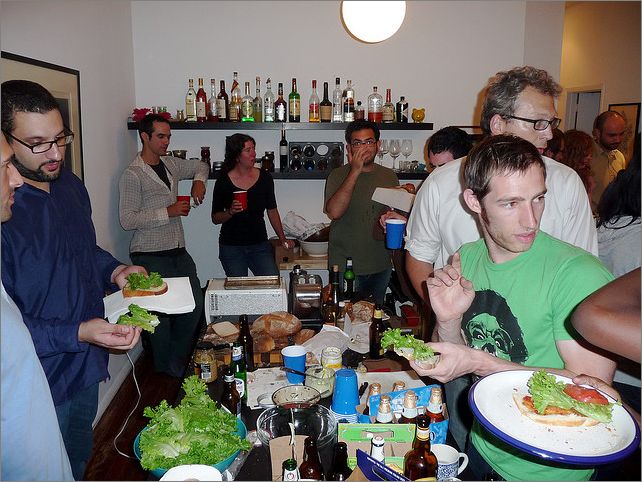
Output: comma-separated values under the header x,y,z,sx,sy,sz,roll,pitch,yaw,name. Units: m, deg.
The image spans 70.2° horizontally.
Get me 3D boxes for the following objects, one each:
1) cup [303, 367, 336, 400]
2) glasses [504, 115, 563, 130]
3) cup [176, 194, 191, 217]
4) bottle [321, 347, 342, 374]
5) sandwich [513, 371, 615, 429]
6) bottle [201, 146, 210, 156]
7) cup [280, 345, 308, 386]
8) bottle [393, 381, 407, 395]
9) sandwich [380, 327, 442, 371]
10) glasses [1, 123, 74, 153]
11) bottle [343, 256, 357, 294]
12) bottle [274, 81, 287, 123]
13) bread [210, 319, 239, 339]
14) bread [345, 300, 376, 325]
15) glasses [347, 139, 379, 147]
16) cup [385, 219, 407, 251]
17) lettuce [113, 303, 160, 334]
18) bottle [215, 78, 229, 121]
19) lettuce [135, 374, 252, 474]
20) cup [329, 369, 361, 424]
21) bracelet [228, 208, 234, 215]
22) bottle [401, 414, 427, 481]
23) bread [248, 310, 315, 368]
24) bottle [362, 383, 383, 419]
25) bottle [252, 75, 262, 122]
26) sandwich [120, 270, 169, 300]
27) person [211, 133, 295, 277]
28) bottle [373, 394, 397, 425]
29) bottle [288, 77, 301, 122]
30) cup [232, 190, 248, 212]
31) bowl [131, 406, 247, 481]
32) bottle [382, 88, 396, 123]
x,y,z,sx,sy,sz,roll,pitch,yaw,name
-0.002,0.594,1.990,0.119,0.125,0.124,4,5,0,cup
1.070,-0.585,2.231,0.373,0.074,0.164,-13,19,-31,glasses
-1.185,-0.302,3.895,0.160,0.170,0.156,3,9,0,cup
0.054,0.536,2.083,0.083,0.096,0.087,0,13,-1,bottle
0.736,0.470,1.377,0.217,0.077,0.138,-4,32,11,sandwich
-1.172,-0.904,4.617,0.086,0.112,0.088,2,9,0,bottle
-0.115,0.568,2.108,0.129,0.148,0.138,-1,-1,0,cup
0.318,0.583,1.844,0.040,0.054,0.052,0,7,0,bottle
0.328,0.423,1.700,0.185,0.076,0.122,19,21,28,sandwich
-1.238,-0.445,1.969,0.189,0.058,0.189,23,22,12,glasses
0.204,0.231,3.195,0.102,0.364,0.108,1,32,0,bottle
-0.408,-1.371,4.542,0.130,0.365,0.447,-3,16,-3,bottle
-0.523,0.471,2.490,0.086,0.022,0.091,-9,33,-36,bread
0.231,0.409,2.701,0.148,0.057,0.123,8,24,23,bread
0.337,-0.769,3.567,0.195,0.054,0.069,-3,16,-2,glasses
0.457,-0.035,2.816,0.150,0.167,0.153,1,5,0,cup
-0.823,0.349,2.053,0.162,0.126,0.061,2,-12,0,lettuce
-0.980,-1.373,4.493,0.114,0.378,0.266,-5,16,-11,bottle
-0.436,0.640,1.548,0.311,0.186,0.299,14,26,30,lettuce
0.084,0.602,1.853,0.158,0.236,0.162,0,17,0,cup
-0.786,-0.259,3.985,0.015,0.047,0.047,-28,33,-37,bracelet
0.306,0.644,1.501,0.069,0.238,0.144,-3,16,-2,bottle
-0.246,0.508,2.405,0.252,0.099,0.252,-6,28,-14,bread
0.202,0.626,1.790,0.066,0.169,0.070,1,36,-1,bottle
-0.638,-1.427,4.580,0.095,0.434,0.377,-4,16,-6,bottle
-0.898,0.219,2.319,0.153,0.059,0.144,1,26,-15,sandwich
-0.661,-0.311,4.206,0.684,1.308,0.444,-6,16,-14,person
0.232,0.615,1.666,0.081,0.202,0.084,-1,41,1,bottle
-0.268,-1.369,4.461,0.106,0.406,0.329,-3,16,-3,bottle
-0.662,-0.344,3.869,0.143,0.164,0.144,-4,1,0,cup
-0.435,0.690,1.569,0.354,0.140,0.372,1,6,0,bowl
0.695,-1.376,4.649,0.126,0.328,0.438,0,16,9,bottle
